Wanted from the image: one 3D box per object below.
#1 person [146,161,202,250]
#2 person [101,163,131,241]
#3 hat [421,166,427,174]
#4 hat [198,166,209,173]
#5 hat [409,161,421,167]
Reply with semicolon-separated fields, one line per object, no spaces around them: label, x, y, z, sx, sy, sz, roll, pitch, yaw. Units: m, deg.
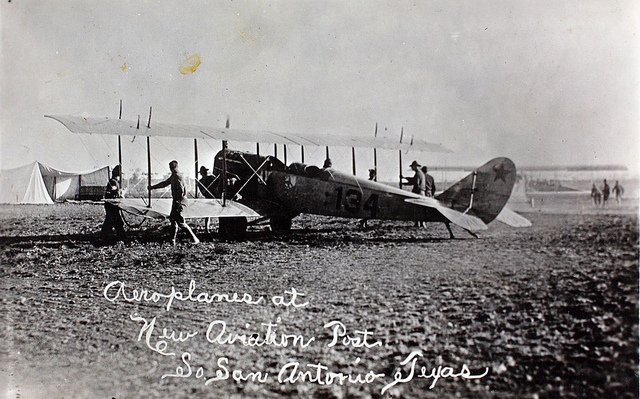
person;-2.787;0.081;12.069;0.822;1.631;0.833;-8;13;-37
person;-4.077;0.052;12.414;0.607;1.493;0.516;4;11;17
hat;2.451;-0.682;14.567;0.136;0.202;0.237;2;11;8
hat;-2.571;-0.650;13.599;0.233;0.140;0.152;0;11;-5
hat;2.223;-0.829;14.505;0.247;0.131;0.092;0;11;-2
